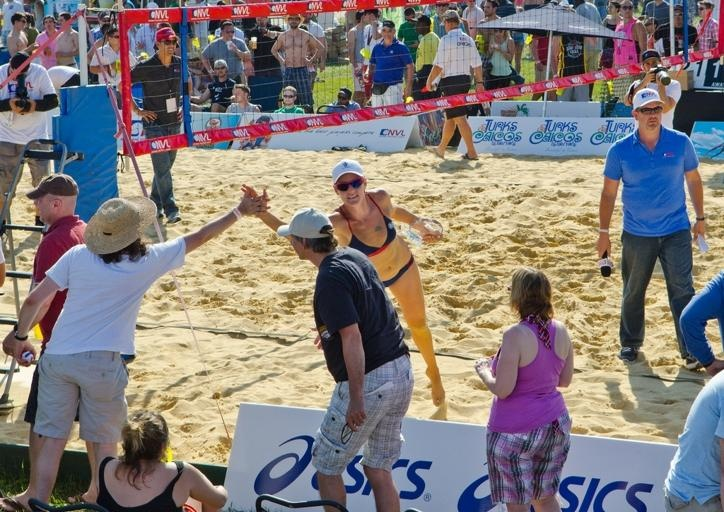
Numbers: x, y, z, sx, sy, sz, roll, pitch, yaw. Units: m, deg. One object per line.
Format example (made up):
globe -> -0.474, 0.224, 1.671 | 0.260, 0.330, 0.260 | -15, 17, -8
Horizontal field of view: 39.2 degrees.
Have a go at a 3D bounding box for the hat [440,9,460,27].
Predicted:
hat -> 1.184, -3.285, 14.014 | 0.261, 0.142, 0.203 | 33, 40, 30

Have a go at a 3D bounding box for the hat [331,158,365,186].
hat -> -0.136, -0.697, 8.244 | 0.287, 0.213, 0.464 | -11, -3, -3

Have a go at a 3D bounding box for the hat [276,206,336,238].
hat -> -0.413, -0.251, 7.180 | 0.306, 0.164, 0.201 | 5, 13, 16

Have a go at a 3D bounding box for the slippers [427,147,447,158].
slippers -> 1.070, -1.519, 14.696 | 0.119, 0.131, 0.357 | -23, 35, -20

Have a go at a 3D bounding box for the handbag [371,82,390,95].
handbag -> 0.250, -2.467, 14.966 | 0.216, 0.170, 0.135 | 0, 4, -4

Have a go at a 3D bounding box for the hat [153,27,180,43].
hat -> -2.311, -2.634, 11.988 | 0.251, 0.130, 0.180 | -3, 5, -43

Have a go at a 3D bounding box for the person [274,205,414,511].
person -> -0.072, 0.740, 7.136 | 0.851, 2.101, 0.354 | 0, 7, -3

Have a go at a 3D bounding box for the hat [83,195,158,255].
hat -> -1.846, -0.251, 7.714 | 0.516, 0.399, 0.821 | -1, 7, -12

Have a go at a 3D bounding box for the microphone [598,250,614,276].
microphone -> 2.235, 0.075, 9.318 | 0.106, 0.259, 0.417 | 2, 7, 12

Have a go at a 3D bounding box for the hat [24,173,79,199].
hat -> -2.422, -0.560, 7.901 | 0.311, 0.163, 0.198 | 4, 18, -3

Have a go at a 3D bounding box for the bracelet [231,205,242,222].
bracelet -> -0.955, -0.325, 7.737 | 0.038, 0.090, 0.080 | -24, 27, -13

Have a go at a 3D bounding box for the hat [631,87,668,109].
hat -> 2.533, -1.396, 9.032 | 0.234, 0.184, 0.208 | 3, 7, 16

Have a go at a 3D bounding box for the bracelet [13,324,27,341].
bracelet -> -2.539, 0.561, 7.483 | 0.089, 0.118, 0.068 | 0, 0, -11

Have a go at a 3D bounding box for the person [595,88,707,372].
person -> 2.647, -0.231, 9.261 | 0.952, 2.547, 0.569 | 2, 7, 13
